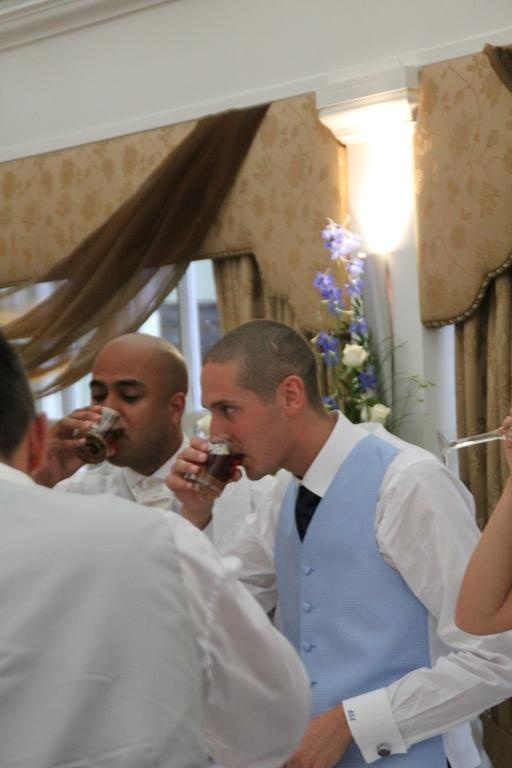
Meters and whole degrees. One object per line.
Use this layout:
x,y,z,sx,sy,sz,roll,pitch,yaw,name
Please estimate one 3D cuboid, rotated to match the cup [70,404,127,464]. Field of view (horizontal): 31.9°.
-0.394,0.126,2.223,0.077,0.091,0.136,19,27,4,cup
